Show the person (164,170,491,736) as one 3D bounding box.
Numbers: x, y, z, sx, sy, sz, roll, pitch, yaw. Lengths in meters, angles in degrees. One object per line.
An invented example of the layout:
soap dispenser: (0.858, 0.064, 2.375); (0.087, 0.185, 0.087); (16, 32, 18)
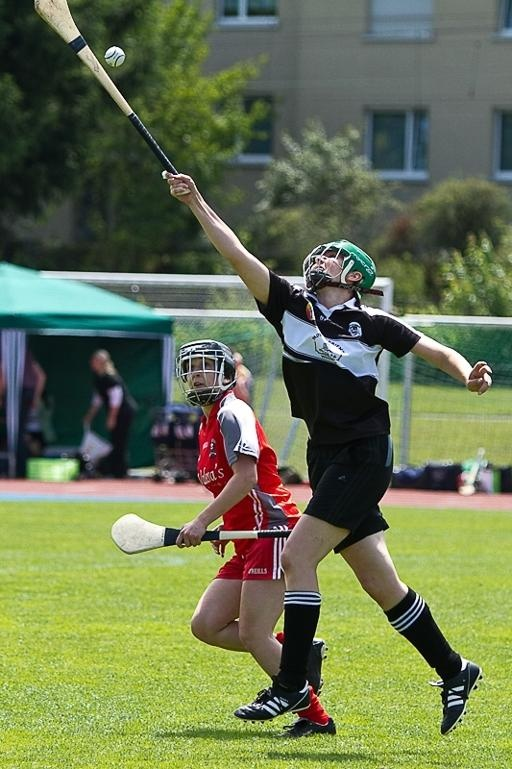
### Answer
person: (0.318, 0.295, 5.542); (1.190, 2.102, 0.574); (1, 7, -3)

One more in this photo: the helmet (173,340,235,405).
helmet: (-0.226, -0.024, 5.792); (0.233, 0.245, 0.280); (-10, -17, -2)

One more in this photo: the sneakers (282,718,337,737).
sneakers: (0.202, 1.333, 5.489); (0.223, 0.077, 0.071); (3, -5, -5)

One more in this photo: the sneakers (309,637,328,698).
sneakers: (0.237, 1.166, 5.723); (0.084, 0.226, 0.158); (-4, 36, -5)

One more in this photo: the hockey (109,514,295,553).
hockey: (-0.290, 0.623, 5.665); (0.861, 0.039, 0.233); (0, 35, 14)

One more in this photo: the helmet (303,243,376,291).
helmet: (0.377, -0.498, 5.713); (0.308, 0.199, 0.243); (10, 7, 10)

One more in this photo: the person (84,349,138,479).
person: (-1.541, 0.330, 14.753); (0.516, 1.407, 0.804); (1, 7, -7)

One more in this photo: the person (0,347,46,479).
person: (-2.465, 0.284, 14.789); (0.458, 1.345, 0.489); (0, 7, -8)
